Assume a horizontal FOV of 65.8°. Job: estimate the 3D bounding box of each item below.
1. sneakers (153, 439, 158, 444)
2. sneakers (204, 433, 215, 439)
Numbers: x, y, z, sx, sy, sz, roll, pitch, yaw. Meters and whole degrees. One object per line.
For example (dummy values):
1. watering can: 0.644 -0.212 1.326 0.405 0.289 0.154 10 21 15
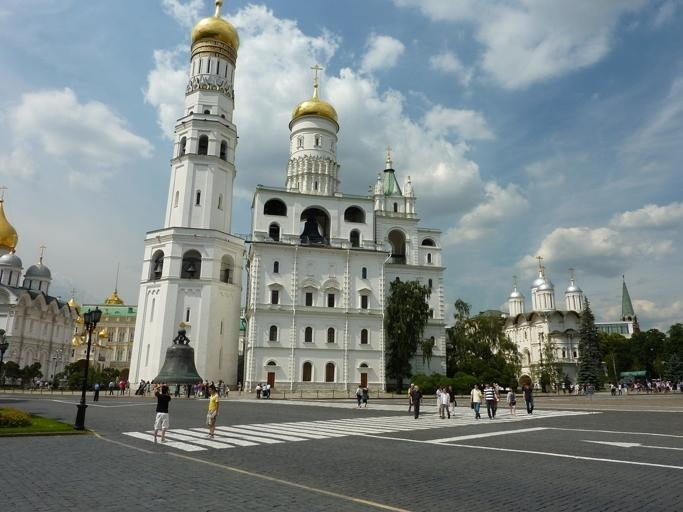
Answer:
1. sneakers: -5.719 5.712 16.341 0.133 0.168 0.179 2 -11 -11
2. sneakers: -4.267 5.911 17.349 0.143 0.195 0.458 11 -29 -30
